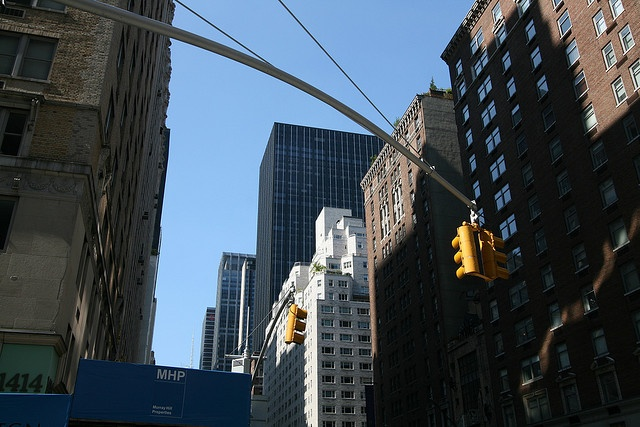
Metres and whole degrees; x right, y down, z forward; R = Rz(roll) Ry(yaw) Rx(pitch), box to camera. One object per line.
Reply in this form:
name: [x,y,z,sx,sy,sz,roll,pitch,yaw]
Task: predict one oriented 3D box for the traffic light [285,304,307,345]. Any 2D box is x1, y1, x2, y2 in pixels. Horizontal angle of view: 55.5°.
traffic light: [-1.231,6.035,32.639,0.903,1.668,1.181,-1,-60,3]
